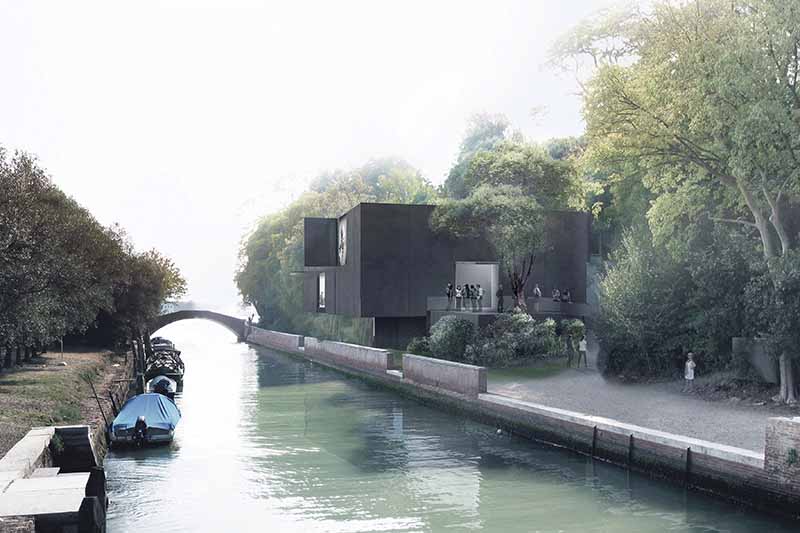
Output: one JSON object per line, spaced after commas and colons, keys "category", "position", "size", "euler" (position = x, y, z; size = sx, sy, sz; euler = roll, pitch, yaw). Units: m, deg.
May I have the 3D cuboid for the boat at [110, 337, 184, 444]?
{"category": "boat", "position": [-11.315, 6.736, 34.400], "size": [2.083, 1.655, 6.893], "euler": [2, 9, -7]}
